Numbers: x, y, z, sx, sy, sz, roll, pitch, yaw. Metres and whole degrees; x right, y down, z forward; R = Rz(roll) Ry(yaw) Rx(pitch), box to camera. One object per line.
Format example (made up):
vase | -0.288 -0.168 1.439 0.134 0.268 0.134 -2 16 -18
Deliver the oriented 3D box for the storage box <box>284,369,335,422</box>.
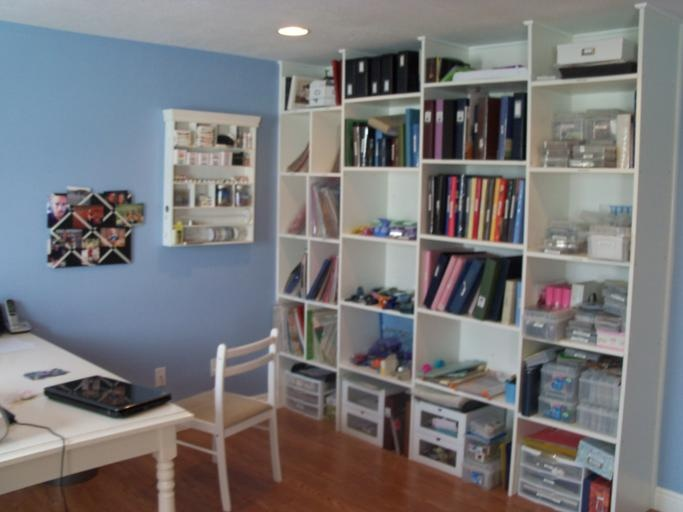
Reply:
storage box | -0.251 1.080 4.557 0.410 0.395 0.232 7 8 39

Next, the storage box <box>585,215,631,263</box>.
storage box | 1.515 -0.099 3.178 0.225 0.227 0.226 7 12 40

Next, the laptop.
laptop | -1.056 0.633 2.555 0.362 0.049 0.220 11 8 32

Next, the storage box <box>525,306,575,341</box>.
storage box | 1.193 0.366 3.297 0.198 0.135 0.199 6 10 41

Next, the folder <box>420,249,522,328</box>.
folder | 0.829 0.196 3.612 0.650 0.442 0.398 8 6 42

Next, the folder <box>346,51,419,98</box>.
folder | 0.292 -1.239 3.883 0.371 0.184 0.119 9 14 38

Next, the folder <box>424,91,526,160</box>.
folder | 0.830 -0.796 3.527 0.673 0.400 0.123 9 12 34
